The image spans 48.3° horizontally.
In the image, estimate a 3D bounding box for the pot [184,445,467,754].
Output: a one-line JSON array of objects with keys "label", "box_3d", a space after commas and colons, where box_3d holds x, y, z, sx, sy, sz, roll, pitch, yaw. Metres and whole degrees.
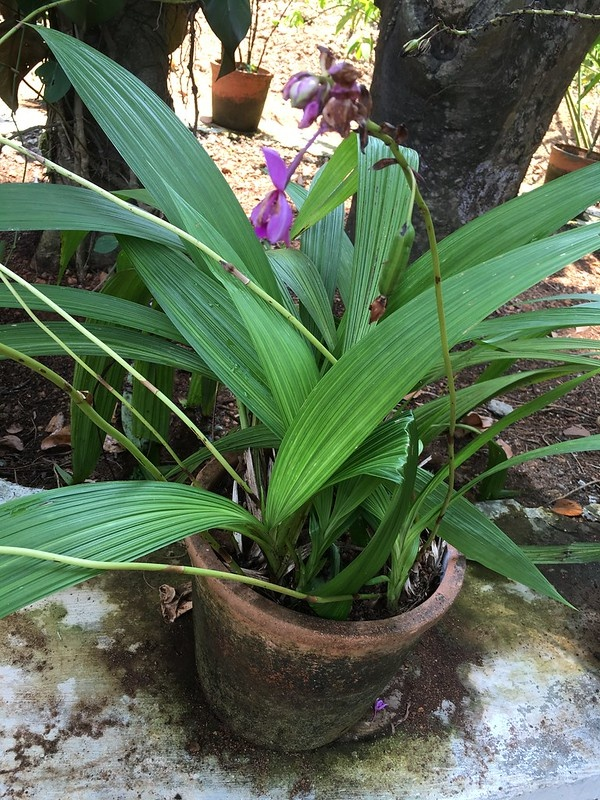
[{"label": "pot", "box_3d": [0.031, 0.354, 1.126, 0.483, 0.322, 0.436, 10, 22, 3]}]

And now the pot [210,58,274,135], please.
[{"label": "pot", "box_3d": [-0.322, -1.578, 3.494, 0.339, 0.246, 0.319, 5, 20, -2]}]
